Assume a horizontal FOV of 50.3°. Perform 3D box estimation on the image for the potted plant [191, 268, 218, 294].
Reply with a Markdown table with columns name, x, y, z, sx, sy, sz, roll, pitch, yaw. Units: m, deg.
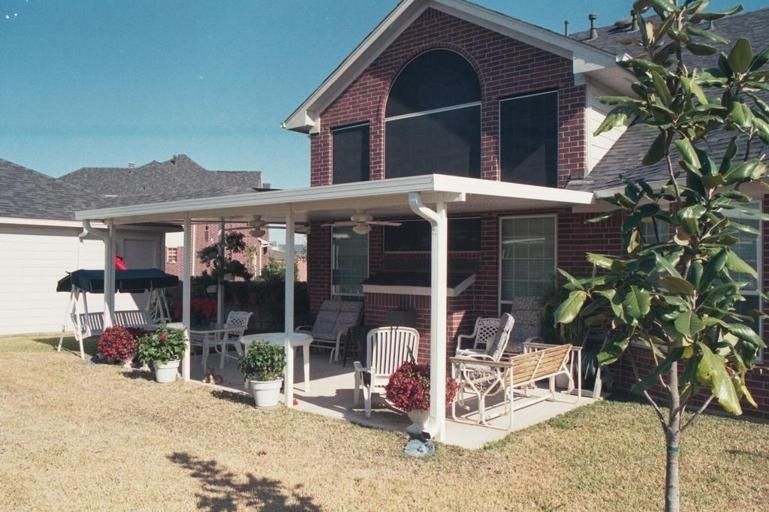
| name | x | y | z | sx | sy | sz | roll | pitch | yaw |
| --- | --- | --- | --- | --- | --- | --- | --- | --- | --- |
| potted plant | -5.822 | 0.833 | 26.461 | 0.728 | 0.783 | 0.766 | 9 | 4 | 17 |

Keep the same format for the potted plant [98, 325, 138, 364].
| name | x | y | z | sx | sy | sz | roll | pitch | yaw |
| --- | --- | --- | --- | --- | --- | --- | --- | --- | --- |
| potted plant | -6.468 | 2.116 | 19.565 | 0.920 | 1.136 | 0.926 | -1 | 4 | -39 |

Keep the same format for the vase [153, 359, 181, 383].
| name | x | y | z | sx | sy | sz | roll | pitch | yaw |
| --- | --- | --- | --- | --- | --- | --- | --- | --- | --- |
| vase | -4.847 | 2.555 | 18.083 | 0.502 | 0.382 | 0.510 | 0 | -3 | 12 |

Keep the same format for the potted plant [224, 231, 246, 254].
| name | x | y | z | sx | sy | sz | roll | pitch | yaw |
| --- | --- | --- | --- | --- | --- | --- | --- | --- | --- |
| potted plant | -5.127 | -0.472 | 27.401 | 0.757 | 1.038 | 0.933 | -2 | 0 | 4 |

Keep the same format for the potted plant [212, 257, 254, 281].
| name | x | y | z | sx | sy | sz | roll | pitch | yaw |
| --- | --- | --- | --- | --- | --- | --- | --- | --- | --- |
| potted plant | -4.899 | 0.431 | 26.240 | 1.028 | 0.744 | 0.998 | -3 | -2 | -42 |

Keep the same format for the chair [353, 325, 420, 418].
| name | x | y | z | sx | sy | sz | roll | pitch | yaw |
| --- | --- | --- | --- | --- | --- | --- | --- | --- | --- |
| chair | 0.032 | 2.361 | 16.170 | 1.608 | 1.856 | 1.120 | -1 | 16 | -6 |

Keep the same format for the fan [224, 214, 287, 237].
| name | x | y | z | sx | sy | sz | roll | pitch | yaw |
| --- | --- | --- | --- | --- | --- | --- | --- | --- | --- |
| fan | -3.742 | -0.873 | 23.270 | 1.090 | 0.460 | 0.728 | 0 | 1 | 20 |

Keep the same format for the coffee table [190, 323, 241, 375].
| name | x | y | z | sx | sy | sz | roll | pitch | yaw |
| --- | --- | --- | --- | --- | --- | --- | --- | --- | --- |
| coffee table | -4.457 | 2.385 | 20.723 | 1.231 | 1.385 | 1.516 | 6 | 6 | 9 |
